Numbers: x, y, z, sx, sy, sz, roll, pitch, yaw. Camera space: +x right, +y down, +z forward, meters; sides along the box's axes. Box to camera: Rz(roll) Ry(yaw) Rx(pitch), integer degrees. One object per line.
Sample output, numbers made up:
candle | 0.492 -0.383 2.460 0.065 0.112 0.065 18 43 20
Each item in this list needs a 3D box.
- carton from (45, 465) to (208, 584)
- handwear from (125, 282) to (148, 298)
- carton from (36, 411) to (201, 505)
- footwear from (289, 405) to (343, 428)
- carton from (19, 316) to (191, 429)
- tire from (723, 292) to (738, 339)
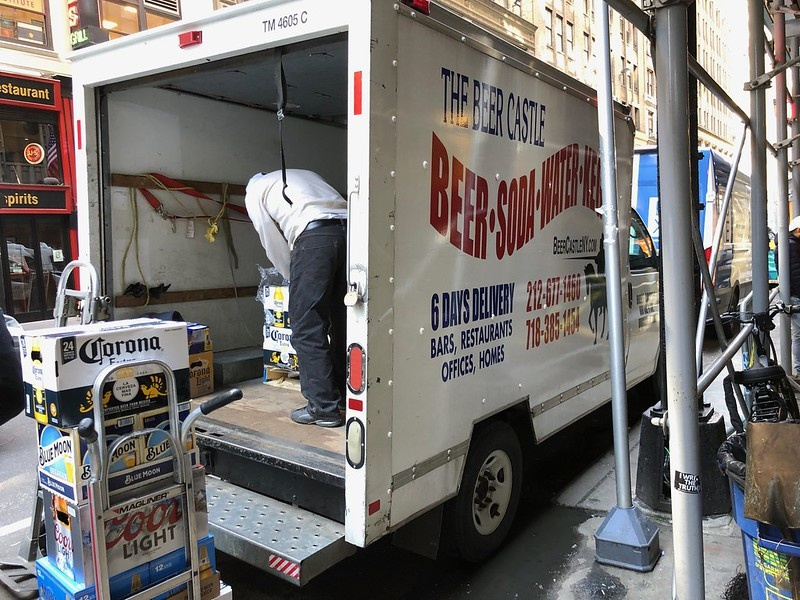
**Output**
carton | -1.331 1.282 3.278 0.618 0.475 0.402 -9 -37 -8
handwear | -2.159 -0.084 4.954 0.045 0.102 0.132 0 -2 32
carton | -1.410 0.888 3.365 0.539 0.404 0.599 -14 -5 -19
footwear | -0.605 0.861 4.458 0.370 0.198 0.159 9 -6 13
carton | -1.609 0.382 3.315 0.366 0.529 0.708 5 7 31
tire | 5.496 0.202 10.046 0.229 0.895 0.765 2 2 26
